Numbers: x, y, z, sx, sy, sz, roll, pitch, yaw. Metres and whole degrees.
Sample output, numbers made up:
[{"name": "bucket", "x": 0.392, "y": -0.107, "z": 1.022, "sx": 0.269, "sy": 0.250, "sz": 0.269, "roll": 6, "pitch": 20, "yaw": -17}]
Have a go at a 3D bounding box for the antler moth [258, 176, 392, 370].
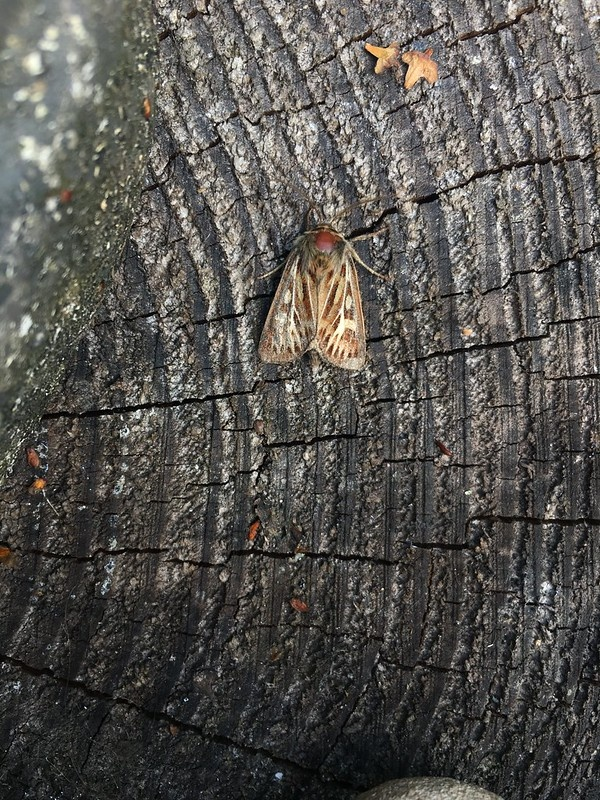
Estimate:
[{"name": "antler moth", "x": 0.047, "y": -0.402, "z": 3.674, "sx": 0.395, "sy": 0.609, "sz": 0.417, "roll": 5, "pitch": 5, "yaw": -21}]
